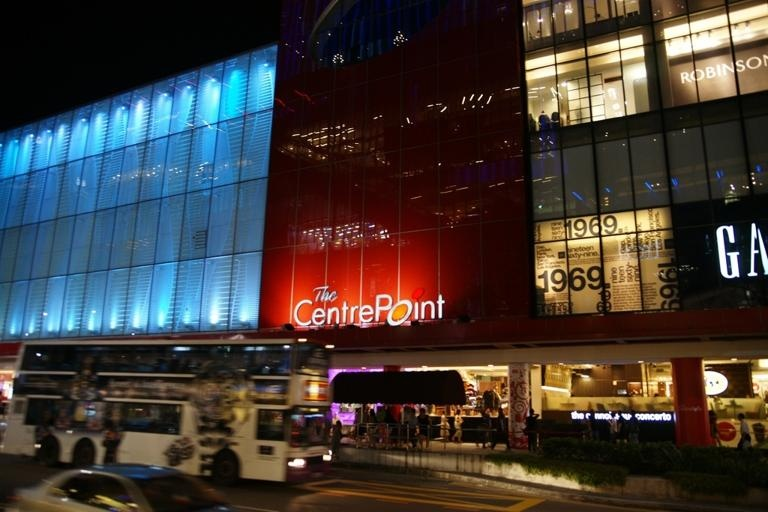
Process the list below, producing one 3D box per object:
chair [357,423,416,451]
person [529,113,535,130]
[{"bbox_3d":[0.158,9.391,31.924,3.557,1.249,1.718,-10,-19,34],"label":"chair"},{"bbox_3d":[8.937,-7.988,36.446,0.450,1.087,0.142,-3,-19,12],"label":"person"}]
